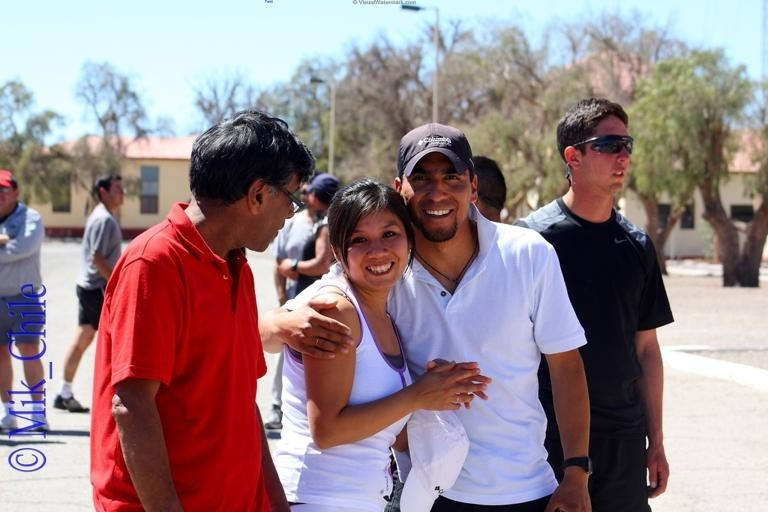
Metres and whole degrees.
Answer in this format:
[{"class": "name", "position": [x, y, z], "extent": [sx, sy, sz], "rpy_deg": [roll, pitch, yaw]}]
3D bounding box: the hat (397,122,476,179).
[{"class": "hat", "position": [0.356, -0.726, 6.038], "extent": [0.532, 0.388, 0.270], "rpy_deg": [1, 13, 0]}]

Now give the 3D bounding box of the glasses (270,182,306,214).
[{"class": "glasses", "position": [-0.597, -0.356, 5.382], "extent": [0.158, 0.044, 0.160], "rpy_deg": [45, 3, 14]}]

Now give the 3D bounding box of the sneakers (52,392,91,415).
[{"class": "sneakers", "position": [-3.593, 1.720, 10.061], "extent": [0.462, 0.229, 0.173], "rpy_deg": [14, 0, -11]}]

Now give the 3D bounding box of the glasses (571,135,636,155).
[{"class": "glasses", "position": [1.690, -0.859, 6.686], "extent": [0.201, 0.075, 0.249], "rpy_deg": [1, -6, -43]}]

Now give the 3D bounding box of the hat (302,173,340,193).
[{"class": "hat", "position": [-0.720, -0.836, 9.931], "extent": [0.480, 0.251, 0.334], "rpy_deg": [5, -6, -31]}]
